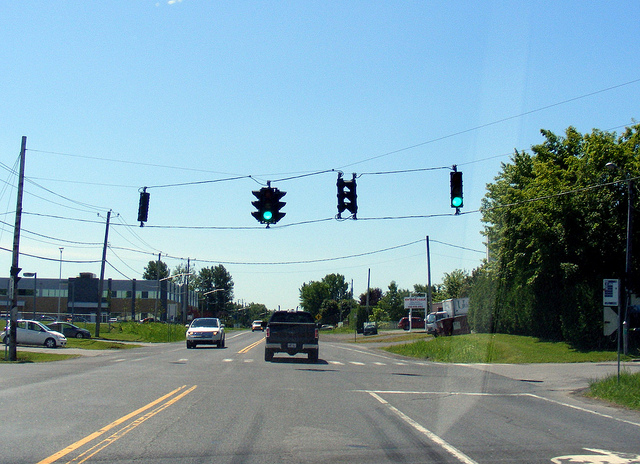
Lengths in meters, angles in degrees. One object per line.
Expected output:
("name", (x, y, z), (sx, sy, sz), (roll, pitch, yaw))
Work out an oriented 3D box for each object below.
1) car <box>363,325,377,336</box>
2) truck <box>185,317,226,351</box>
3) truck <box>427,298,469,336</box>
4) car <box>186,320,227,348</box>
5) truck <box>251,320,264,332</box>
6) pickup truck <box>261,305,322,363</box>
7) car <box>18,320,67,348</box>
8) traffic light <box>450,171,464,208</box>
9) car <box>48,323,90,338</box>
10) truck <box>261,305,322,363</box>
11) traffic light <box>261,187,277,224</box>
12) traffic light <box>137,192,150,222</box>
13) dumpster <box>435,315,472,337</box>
("car", (6.508, 12.934, 89.741), (1.252, 1.157, 2.460), (1, 5, 5))
("truck", (-7.266, 6.699, 44.419), (1.713, 1.654, 3.672), (-1, -11, 0))
("truck", (12.114, 7.564, 62.572), (5.464, 3.196, 2.610), (-2, -9, -32))
("car", (-7.257, 6.433, 43.556), (2.406, 1.858, 1.859), (7, -14, -24))
("truck", (-10.907, 15.982, 117.412), (1.855, 1.675, 3.122), (-1, -12, -3))
("pickup truck", (-1.355, 4.974, 32.827), (2.476, 2.493, 1.488), (2, -12, -6))
("car", (-17.835, 6.499, 43.835), (2.760, 1.554, 1.629), (0, -3, -2))
("traffic light", (5.291, -1.671, 26.617), (0.402, 1.536, 0.570), (-4, -12, 20))
("car", (-19.592, 7.847, 54.495), (2.147, 0.834, 1.106), (2, 0, -13))
("truck", (-1.351, 5.343, 32.540), (2.539, 2.427, 5.009), (1, -3, -3))
("traffic light", (-2.088, -1.084, 27.878), (0.655, 1.429, 0.564), (1, -11, -2))
("traffic light", (-7.580, -1.092, 29.373), (0.336, 1.369, 0.419), (5, -12, -20))
("dumpster", (11.597, 8.234, 59.620), (2.513, 1.572, 1.819), (-8, -1, 0))
